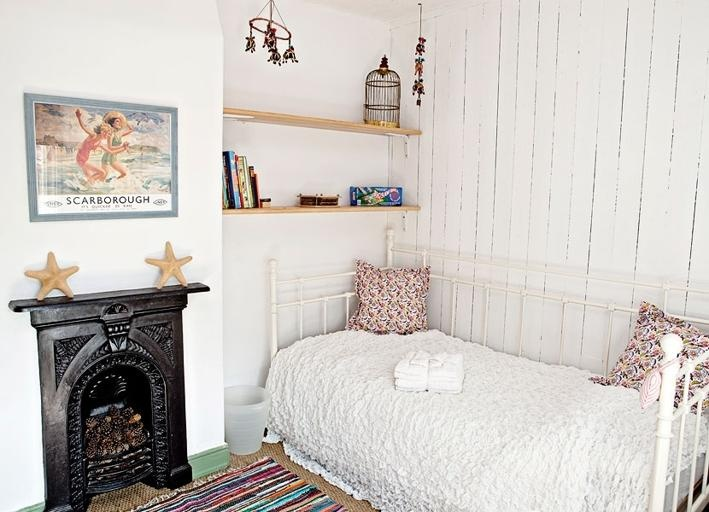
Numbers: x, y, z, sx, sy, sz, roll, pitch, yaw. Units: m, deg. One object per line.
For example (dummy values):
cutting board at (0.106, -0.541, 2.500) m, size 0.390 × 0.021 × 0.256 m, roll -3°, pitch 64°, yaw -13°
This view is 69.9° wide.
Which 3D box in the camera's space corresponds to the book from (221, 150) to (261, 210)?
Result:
book at (-0.724, -0.468, 3.199) m, size 0.223 × 0.401 × 0.415 m, roll -1°, pitch 5°, yaw 15°

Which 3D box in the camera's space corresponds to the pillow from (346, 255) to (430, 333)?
pillow at (0.248, 0.304, 3.728) m, size 0.510 × 0.503 × 0.191 m, roll 2°, pitch -11°, yaw 2°

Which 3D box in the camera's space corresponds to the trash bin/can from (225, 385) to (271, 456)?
trash bin/can at (-0.729, 1.067, 3.361) m, size 0.373 × 0.330 × 0.350 m, roll 1°, pitch 3°, yaw 18°
